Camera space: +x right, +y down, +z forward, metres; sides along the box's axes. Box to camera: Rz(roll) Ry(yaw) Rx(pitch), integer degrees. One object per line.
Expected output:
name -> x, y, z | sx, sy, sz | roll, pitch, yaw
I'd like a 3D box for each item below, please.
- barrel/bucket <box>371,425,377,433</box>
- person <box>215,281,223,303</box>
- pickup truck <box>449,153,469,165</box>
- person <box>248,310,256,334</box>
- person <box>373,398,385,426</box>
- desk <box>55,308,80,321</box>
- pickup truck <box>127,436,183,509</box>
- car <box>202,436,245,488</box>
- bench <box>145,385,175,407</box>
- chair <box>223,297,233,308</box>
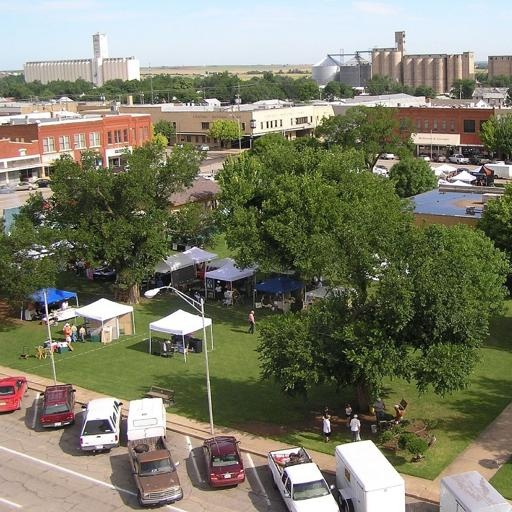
barrel/bucket -> 5.543, 8.059, 35.858 | 0.270, 0.326, 0.499 | -1, 10, 7
person -> -2.810, 2.501, 57.067 | 0.575, 1.370, 1.610 | -3, 10, -3
pickup truck -> 33.706, -16.221, 126.583 | 1.741, 1.297, 2.706 | -3, 14, -16
person -> -0.293, 4.339, 50.035 | 0.423, 0.479, 1.370 | -13, -25, -7
person -> 5.902, 7.268, 36.547 | 0.532, 1.301, 1.803 | -1, 10, 8
desk -> -12.978, 3.940, 52.520 | 0.972, 0.625, 1.729 | 13, 19, 30
pickup truck -> -4.142, 8.690, 31.128 | 1.527, 1.063, 2.724 | -7, 27, -15
car -> -1.362, 8.761, 32.139 | 1.518, 1.446, 2.107 | -4, 10, -8
bench -> -5.108, 7.226, 39.818 | 1.781, 0.765, 0.797 | 3, 12, 30
chair -> -2.097, 3.216, 55.641 | 0.699, 0.595, 1.122 | -3, 10, -2
